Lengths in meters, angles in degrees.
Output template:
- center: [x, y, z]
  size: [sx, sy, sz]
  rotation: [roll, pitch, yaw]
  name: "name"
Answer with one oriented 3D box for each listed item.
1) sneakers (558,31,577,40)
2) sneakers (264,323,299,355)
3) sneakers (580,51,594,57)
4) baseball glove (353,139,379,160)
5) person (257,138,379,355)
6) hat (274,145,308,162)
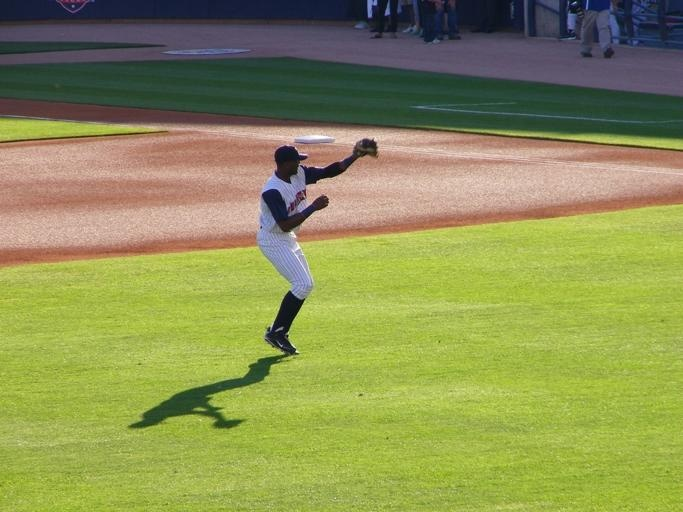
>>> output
- center: [5.515, -5.480, 37.421]
  size: [0.587, 0.153, 0.160]
  rotation: [1, 6, 11]
  name: "sneakers"
- center: [-0.580, 0.800, 14.528]
  size: [0.347, 0.269, 0.261]
  rotation: [1, 13, 2]
  name: "sneakers"
- center: [5.433, -4.495, 33.521]
  size: [0.283, 0.116, 0.447]
  rotation: [2, 10, 8]
  name: "sneakers"
- center: [0.256, -1.064, 14.831]
  size: [0.207, 0.137, 0.278]
  rotation: [9, -5, -16]
  name: "baseball glove"
- center: [-0.382, -0.113, 14.650]
  size: [0.985, 2.029, 1.048]
  rotation: [5, 15, 14]
  name: "person"
- center: [-0.524, -0.987, 14.478]
  size: [0.326, 0.107, 0.173]
  rotation: [-9, 15, -14]
  name: "hat"
